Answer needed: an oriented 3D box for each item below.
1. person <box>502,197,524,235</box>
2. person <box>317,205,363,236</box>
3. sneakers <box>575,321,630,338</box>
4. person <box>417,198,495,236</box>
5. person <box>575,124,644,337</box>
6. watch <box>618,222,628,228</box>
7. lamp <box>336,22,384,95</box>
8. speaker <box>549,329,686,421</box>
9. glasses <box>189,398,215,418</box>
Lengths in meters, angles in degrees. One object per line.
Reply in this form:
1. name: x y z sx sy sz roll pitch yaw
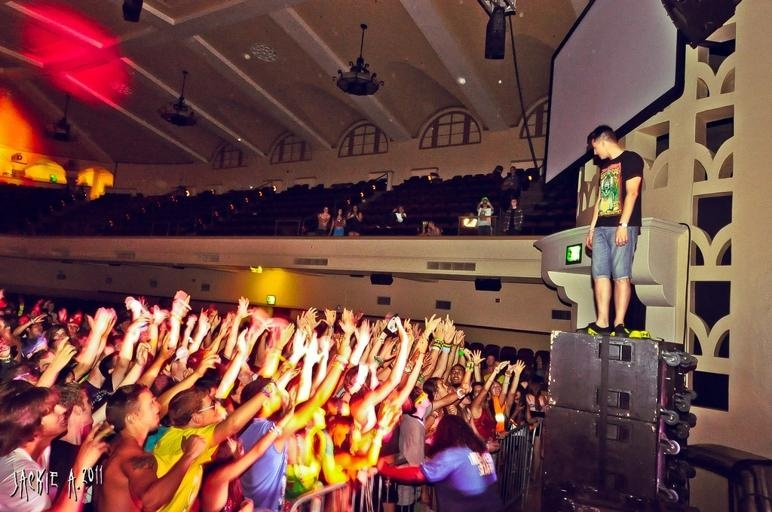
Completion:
1. person: 2.548 -0.778 10.358 0.336 0.745 0.506 6 -11 -4
2. person: -1.153 -0.835 12.509 0.759 0.917 0.294 1 -14 1
3. sneakers: 2.153 0.736 5.071 0.524 0.189 0.202 1 -12 -1
4. person: 1.833 -0.723 10.743 1.041 0.703 1.077 0 1 40
5. person: 2.346 -0.276 5.315 0.543 2.206 0.504 -2 -13 35
6. watch: 2.387 -0.305 5.182 0.068 0.047 0.045 4 -11 11
7. lamp: -0.683 -5.122 13.042 0.963 1.397 0.993 12 8 34
8. speaker: 1.970 1.054 4.562 0.820 0.600 0.861 1 -6 29
9. glasses: -1.451 1.208 4.093 0.051 0.122 0.187 -3 -14 39
